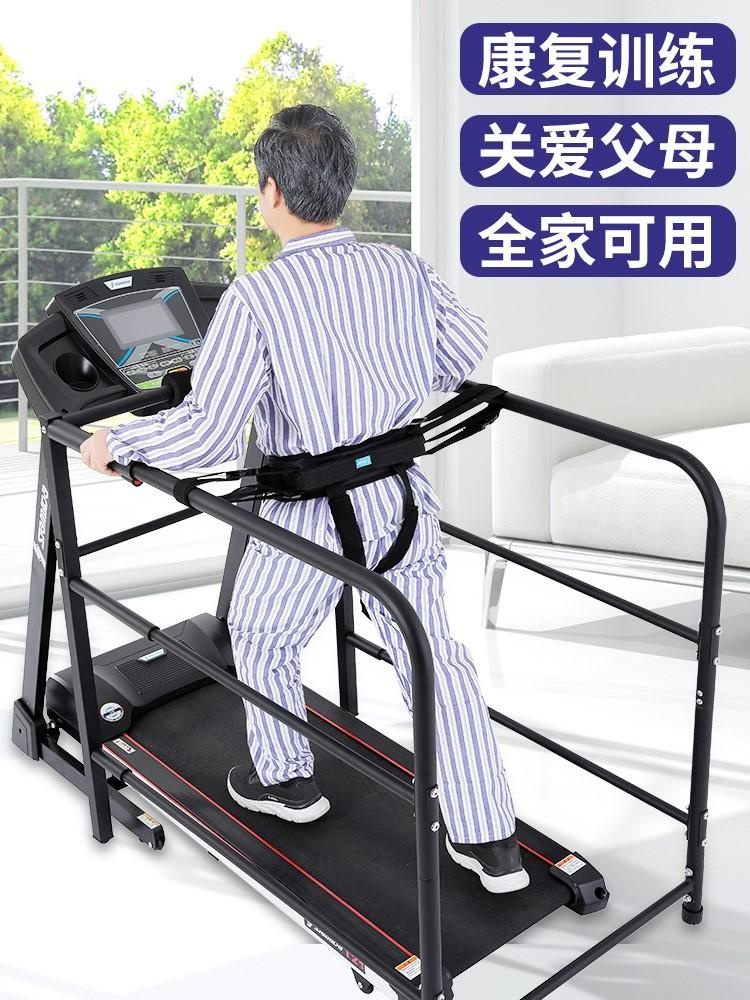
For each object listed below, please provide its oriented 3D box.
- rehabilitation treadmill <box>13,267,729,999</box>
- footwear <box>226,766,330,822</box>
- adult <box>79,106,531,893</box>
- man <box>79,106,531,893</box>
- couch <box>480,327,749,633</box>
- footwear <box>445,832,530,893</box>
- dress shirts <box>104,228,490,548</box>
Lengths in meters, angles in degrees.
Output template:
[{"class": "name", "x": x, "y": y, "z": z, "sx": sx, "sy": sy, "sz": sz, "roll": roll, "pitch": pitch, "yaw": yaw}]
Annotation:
[{"class": "rehabilitation treadmill", "x": 0.018, "y": 0.098, "z": 1.990, "sx": 0.968, "sy": 1.265, "sz": 1.751, "roll": -16, "pitch": 30, "yaw": -34}, {"class": "footwear", "x": -0.175, "y": 0.545, "z": 1.696, "sx": 0.205, "sy": 0.083, "sz": 0.078, "roll": 11, "pitch": 18, "yaw": 30}, {"class": "adult", "x": -0.076, "y": -0.015, "z": 1.466, "sx": 0.731, "sy": 1.063, "sz": 0.547, "roll": 4, "pitch": 17, "yaw": 10}, {"class": "man", "x": -0.082, "y": -0.026, "z": 1.473, "sx": 0.717, "sy": 1.095, "sz": 0.588, "roll": 3, "pitch": 16, "yaw": 9}, {"class": "couch", "x": 0.862, "y": -0.130, "z": 2.934, "sx": 0.955, "sy": 0.864, "sz": 0.941, "roll": 6, "pitch": 10, "yaw": 38}, {"class": "footwear", "x": 0.183, "y": 0.579, "z": 1.448, "sx": 0.073, "sy": 0.049, "sz": 0.128, "roll": -8, "pitch": 19, "yaw": -32}, {"class": "dress shirts", "x": -0.061, "y": -0.203, "z": 1.363, "sx": 0.300, "sy": 0.445, "sz": 0.682, "roll": 22, "pitch": 34, "yaw": 39}]
